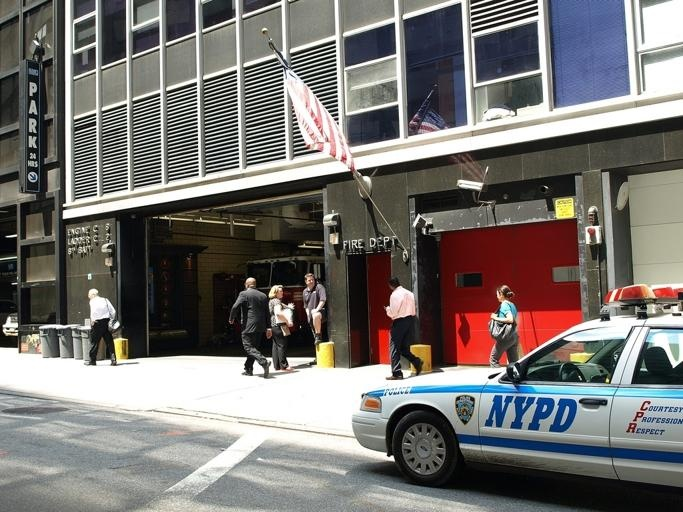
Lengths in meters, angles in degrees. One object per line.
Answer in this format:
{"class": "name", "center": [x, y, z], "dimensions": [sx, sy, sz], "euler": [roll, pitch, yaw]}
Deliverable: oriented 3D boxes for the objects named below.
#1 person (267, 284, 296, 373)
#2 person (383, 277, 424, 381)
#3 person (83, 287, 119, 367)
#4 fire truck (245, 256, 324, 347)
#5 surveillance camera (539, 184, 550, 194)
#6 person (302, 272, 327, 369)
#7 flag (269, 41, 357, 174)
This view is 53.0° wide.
{"class": "person", "center": [-1.479, 1.803, 16.977], "dimensions": [0.670, 2.107, 0.606], "euler": [-6, -4, 43]}
{"class": "person", "center": [1.299, 1.539, 14.766], "dimensions": [0.870, 2.164, 0.743], "euler": [0, -1, 33]}
{"class": "person", "center": [-6.899, 2.050, 19.593], "dimensions": [0.799, 2.193, 0.904], "euler": [0, -5, -24]}
{"class": "fire truck", "center": [-1.345, 1.368, 26.086], "dimensions": [2.016, 2.226, 3.386], "euler": [-4, -7, 35]}
{"class": "surveillance camera", "center": [4.490, -1.446, 15.017], "dimensions": [0.046, 0.200, 0.241], "euler": [2, -7, -43]}
{"class": "person", "center": [-0.688, 1.660, 17.700], "dimensions": [0.681, 2.428, 0.565], "euler": [2, 1, 28]}
{"class": "flag", "center": [-0.608, -3.389, 15.800], "dimensions": [1.653, 2.821, 0.725], "euler": [-2, -5, 0]}
